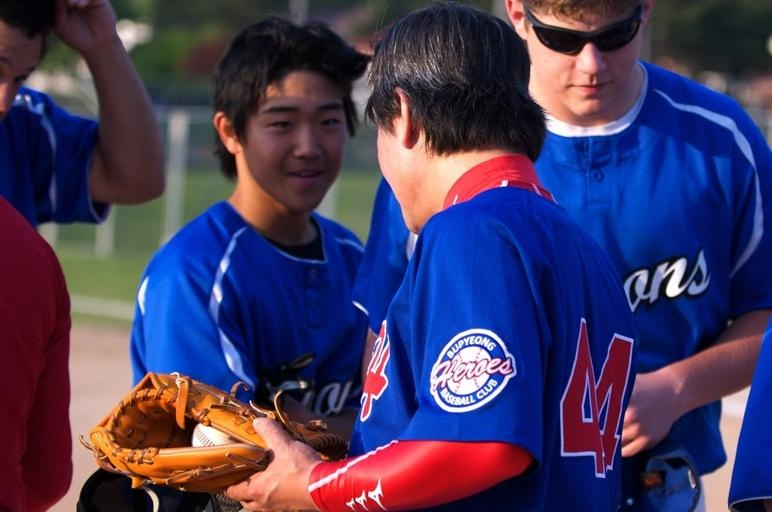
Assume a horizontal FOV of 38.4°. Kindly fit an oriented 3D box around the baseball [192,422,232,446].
[{"bbox_3d":[-0.659,0.689,4.199,0.118,0.082,0.100,23,-15,5],"label":"baseball"}]
